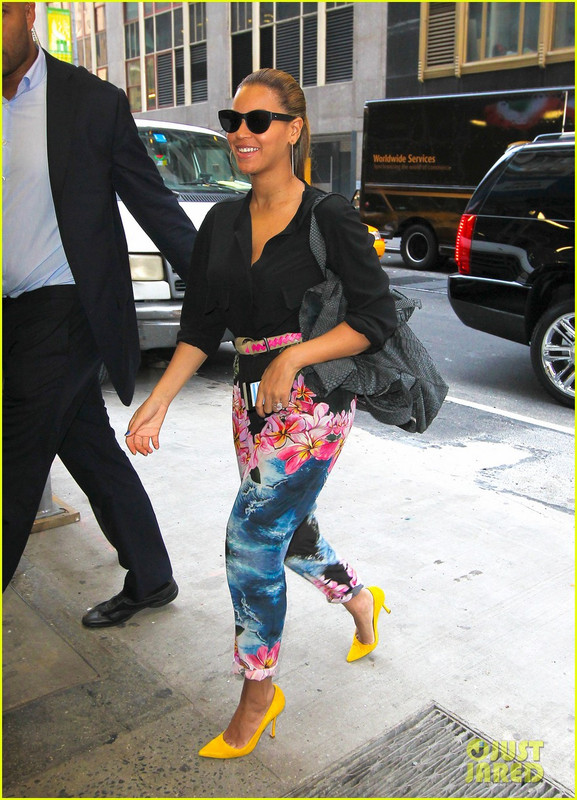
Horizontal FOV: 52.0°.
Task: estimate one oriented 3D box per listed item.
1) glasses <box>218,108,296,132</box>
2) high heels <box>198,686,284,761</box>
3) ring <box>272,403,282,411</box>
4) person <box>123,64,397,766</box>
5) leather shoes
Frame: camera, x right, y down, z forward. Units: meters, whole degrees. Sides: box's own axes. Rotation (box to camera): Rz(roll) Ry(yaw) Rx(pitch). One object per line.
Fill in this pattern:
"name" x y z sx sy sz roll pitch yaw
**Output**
"glasses" -0.086 -0.648 1.367 0.119 0.035 0.115 9 16 25
"high heels" -0.104 0.915 1.746 0.331 0.152 0.111 0 10 -41
"ring" -0.025 0.018 1.357 0.017 0.021 0.029 2 -10 18
"person" -0.005 0.053 1.581 0.912 1.695 0.555 -4 7 -34
"leather shoes" -0.676 0.853 2.458 0.391 0.139 0.134 -10 11 -27
